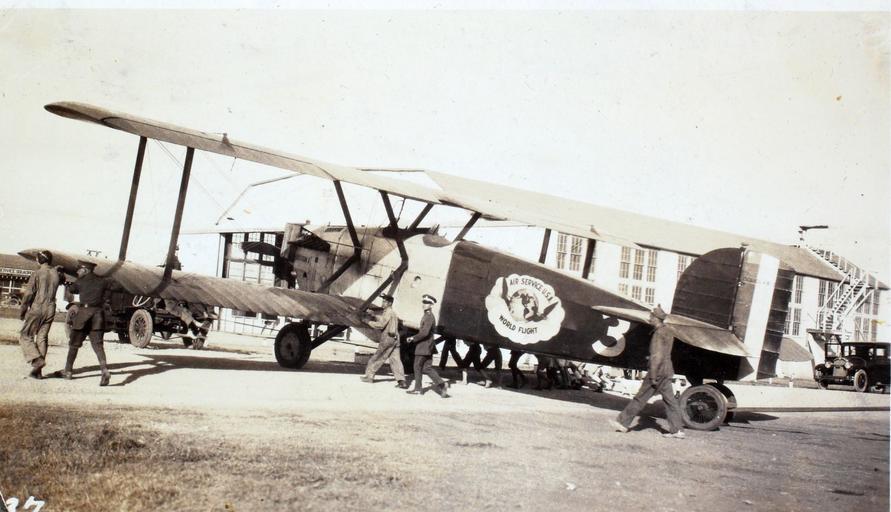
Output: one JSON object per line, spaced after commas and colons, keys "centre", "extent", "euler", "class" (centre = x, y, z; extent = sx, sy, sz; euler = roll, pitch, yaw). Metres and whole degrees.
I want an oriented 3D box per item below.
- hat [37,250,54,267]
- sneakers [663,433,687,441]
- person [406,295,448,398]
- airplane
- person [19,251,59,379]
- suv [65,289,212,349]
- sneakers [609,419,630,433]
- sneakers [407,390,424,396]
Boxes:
{"centre": [-10.048, 0.055, 17.678], "extent": [0.413, 0.345, 0.296], "euler": [2, 2, 13], "class": "hat"}
{"centre": [5.848, 4.598, 17.974], "extent": [0.534, 0.211, 0.195], "euler": [2, -4, 28], "class": "sneakers"}
{"centre": [-0.460, 2.528, 20.310], "extent": [1.055, 2.925, 1.464], "euler": [7, -8, -2], "class": "person"}
{"centre": [0.996, 0.776, 21.429], "extent": [18.917, 7.671, 6.074], "euler": [5, -8, 3], "class": "airplane"}
{"centre": [-10.181, 1.412, 17.599], "extent": [0.757, 3.196, 0.701], "euler": [11, -9, -26], "class": "person"}
{"centre": [-10.807, 2.134, 24.639], "extent": [5.347, 2.349, 2.318], "euler": [1, -3, 41], "class": "suv"}
{"centre": [4.362, 4.384, 18.063], "extent": [0.600, 0.249, 0.229], "euler": [18, -4, 23], "class": "sneakers"}
{"centre": [-0.840, 3.873, 19.868], "extent": [0.474, 0.178, 0.153], "euler": [4, -2, -1], "class": "sneakers"}
